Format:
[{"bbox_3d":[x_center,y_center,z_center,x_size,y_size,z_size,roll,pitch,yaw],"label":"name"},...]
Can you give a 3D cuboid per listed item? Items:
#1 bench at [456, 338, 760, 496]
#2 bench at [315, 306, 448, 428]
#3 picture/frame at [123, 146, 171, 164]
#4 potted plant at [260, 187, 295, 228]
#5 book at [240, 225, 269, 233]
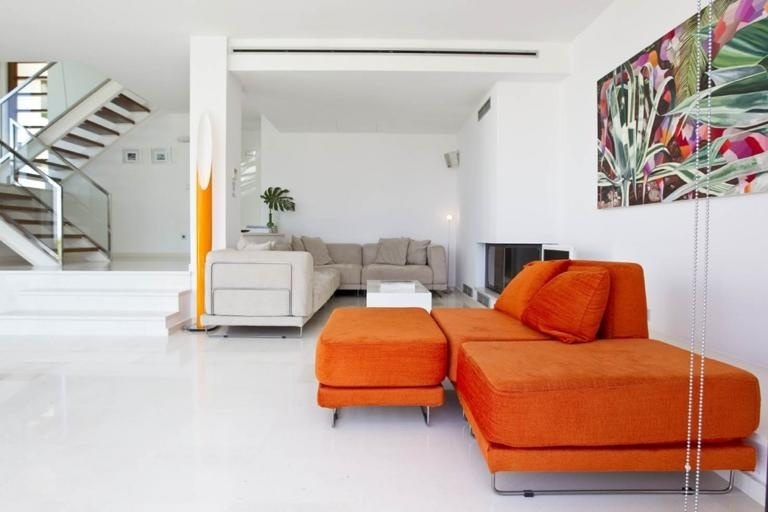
[{"bbox_3d":[1.440,1.036,3.630,1.234,0.509,1.323,-1,0,-2],"label":"bench"},{"bbox_3d":[-0.006,0.914,4.230,1.020,0.779,0.598,-2,3,0],"label":"bench"},{"bbox_3d":[-4.581,-1.931,10.008,0.944,0.306,0.031,-2,3,-2],"label":"picture/frame"},{"bbox_3d":[-1.878,-0.871,9.247,0.810,0.795,0.417,2,-7,-22],"label":"potted plant"},{"bbox_3d":[-1.963,-0.407,7.967,0.451,0.121,0.352,-2,3,-14],"label":"book"}]
